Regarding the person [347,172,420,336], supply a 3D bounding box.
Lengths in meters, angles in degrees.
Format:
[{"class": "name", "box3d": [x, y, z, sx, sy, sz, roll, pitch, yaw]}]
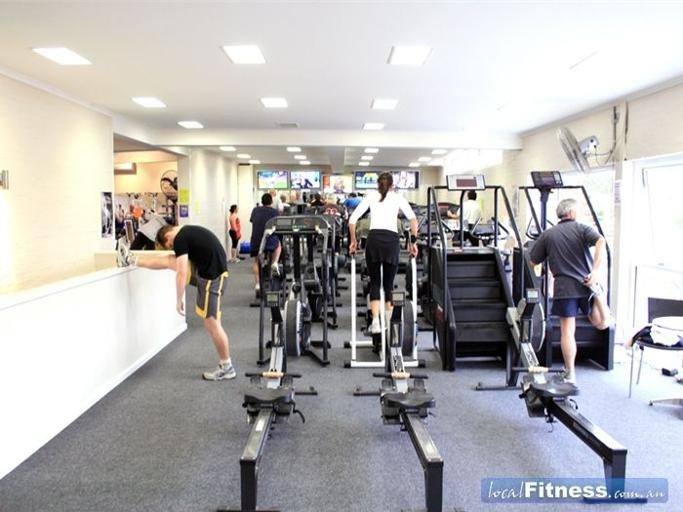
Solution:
[{"class": "person", "box3d": [0.500, 0.003, 5.732, 0.808, 1.960, 0.893, 0, 4, 2]}]

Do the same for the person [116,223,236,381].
[{"class": "person", "box3d": [-1.606, 0.493, 5.145, 0.906, 1.627, 0.614, 1, 5, 20]}]

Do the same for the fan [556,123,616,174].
[{"class": "fan", "box3d": [3.468, -1.525, 6.972, 0.463, 0.812, 0.685, -27, -35, 20]}]

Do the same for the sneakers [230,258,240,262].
[{"class": "sneakers", "box3d": [-3.149, 0.133, 14.631, 0.131, 0.135, 0.302, 8, 11, 44]}]

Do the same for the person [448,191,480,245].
[{"class": "person", "box3d": [2.393, -0.709, 9.010, 0.654, 0.913, 1.512, 1, 10, 9]}]

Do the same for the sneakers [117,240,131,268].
[{"class": "sneakers", "box3d": [-2.289, -0.010, 5.155, 0.126, 0.315, 0.098, 4, 0, -4]}]

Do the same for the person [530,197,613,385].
[{"class": "person", "box3d": [2.327, 0.369, 5.007, 0.724, 1.901, 0.654, -3, 5, -28]}]

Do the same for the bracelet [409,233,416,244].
[{"class": "bracelet", "box3d": [0.862, -0.207, 5.833, 0.094, 0.102, 0.083, 4, 11, 18]}]

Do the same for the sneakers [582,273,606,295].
[{"class": "sneakers", "box3d": [2.577, 0.297, 5.009, 0.248, 0.253, 0.086, -26, 30, -7]}]

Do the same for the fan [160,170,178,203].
[{"class": "fan", "box3d": [-4.618, -1.846, 13.065, 0.674, 0.894, 0.141, 3, 5, 36]}]
